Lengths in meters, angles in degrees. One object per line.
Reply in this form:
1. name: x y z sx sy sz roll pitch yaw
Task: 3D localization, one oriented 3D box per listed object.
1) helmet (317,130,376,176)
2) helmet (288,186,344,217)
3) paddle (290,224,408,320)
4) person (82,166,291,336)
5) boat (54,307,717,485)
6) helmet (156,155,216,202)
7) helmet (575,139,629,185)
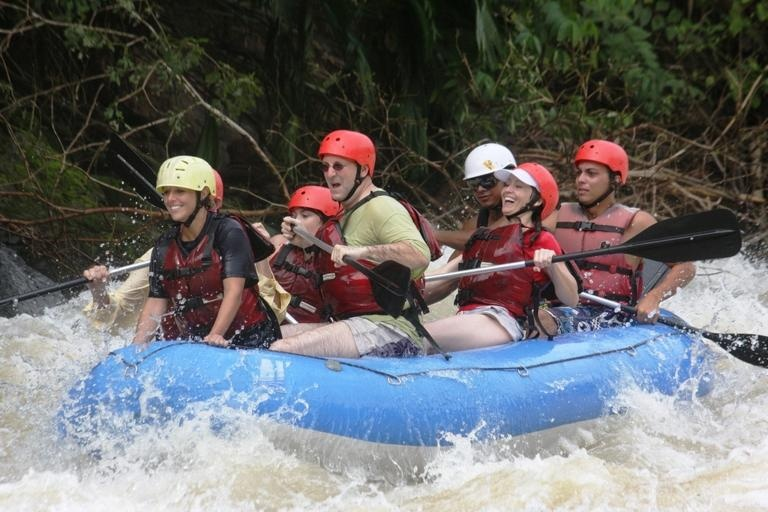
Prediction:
1. helmet: -0.318 -0.894 7.339 0.435 0.364 0.331 -14 9 -21
2. helmet: -0.689 -0.524 8.288 0.408 0.337 0.296 10 3 -39
3. paddle: -0.242 0.060 7.088 1.356 0.484 0.095 35 21 19
4. person: -1.637 0.061 7.169 1.188 1.691 1.143 -4 1 -16
5. boat: 0.215 1.123 6.955 3.472 0.755 1.910 2 -2 -37
6. helmet: -1.667 -0.655 7.134 0.392 0.332 0.316 -15 18 -30
7. helmet: 2.206 -0.938 8.570 0.480 0.410 0.390 -5 15 -23
